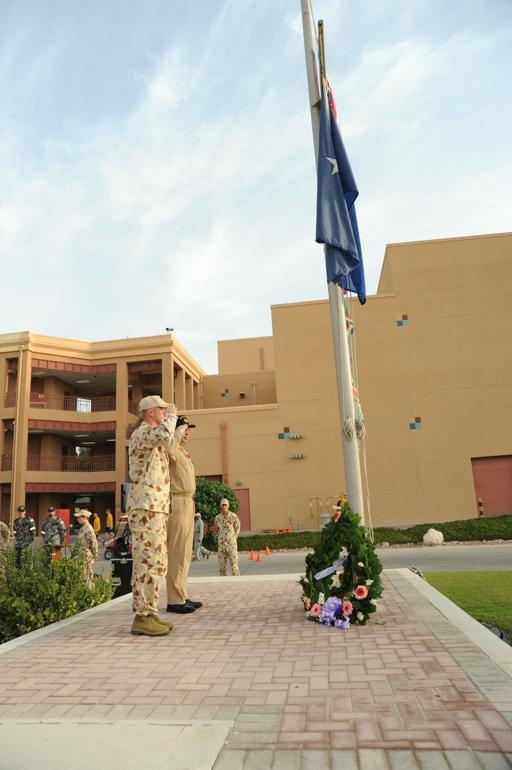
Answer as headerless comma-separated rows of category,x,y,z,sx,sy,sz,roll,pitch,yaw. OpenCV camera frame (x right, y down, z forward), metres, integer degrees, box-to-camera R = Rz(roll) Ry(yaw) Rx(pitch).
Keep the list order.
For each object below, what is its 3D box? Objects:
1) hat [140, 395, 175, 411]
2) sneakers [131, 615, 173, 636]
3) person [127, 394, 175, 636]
hat,-1.015,0.146,5.121,0.313,0.140,0.210,1,0,-16
sneakers,-0.977,2.228,4.639,0.210,0.159,0.269,0,-11,-2
person,-1.009,1.211,4.880,0.550,2.270,0.797,-3,-10,-12
